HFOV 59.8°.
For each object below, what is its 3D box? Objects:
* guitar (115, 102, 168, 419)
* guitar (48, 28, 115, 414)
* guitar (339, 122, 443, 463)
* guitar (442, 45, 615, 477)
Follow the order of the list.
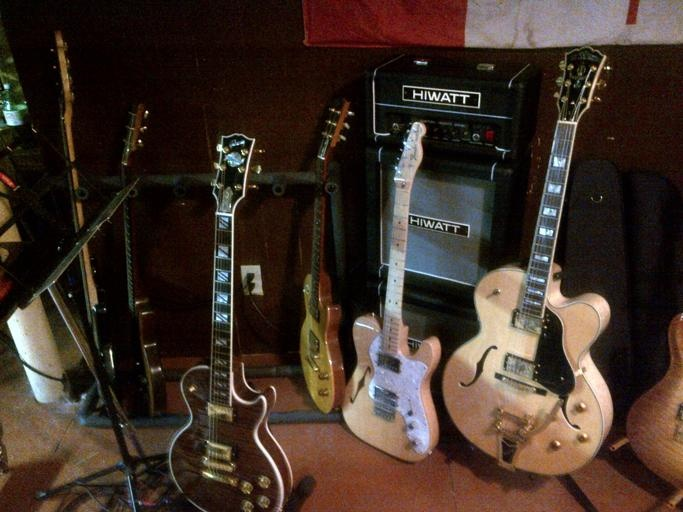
[{"bbox_3d":[-0.898,0.023,2.685,0.191,1.371,0.461,-7,24,-20],"label":"guitar"},{"bbox_3d":[-1.077,-0.199,2.435,0.087,1.325,0.701,-8,24,-22],"label":"guitar"},{"bbox_3d":[0.238,0.189,2.405,0.455,1.410,0.185,15,26,29],"label":"guitar"},{"bbox_3d":[0.774,0.071,2.231,0.640,1.589,0.312,16,27,31],"label":"guitar"}]
